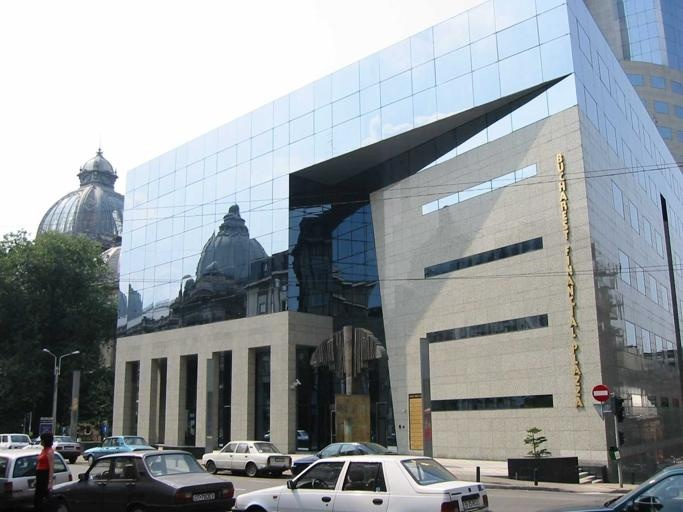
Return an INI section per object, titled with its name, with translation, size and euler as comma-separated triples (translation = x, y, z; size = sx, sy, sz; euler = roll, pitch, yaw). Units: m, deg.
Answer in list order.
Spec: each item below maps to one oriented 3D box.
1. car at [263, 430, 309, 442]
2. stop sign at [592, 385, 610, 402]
[car]
translation = -3.966, 14.208, 68.786
size = 2.480, 1.096, 1.340
euler = 5, -12, 1
[stop sign]
translation = 14.945, 7.981, 51.027
size = 0.775, 0.973, 1.151
euler = -5, -19, 10
